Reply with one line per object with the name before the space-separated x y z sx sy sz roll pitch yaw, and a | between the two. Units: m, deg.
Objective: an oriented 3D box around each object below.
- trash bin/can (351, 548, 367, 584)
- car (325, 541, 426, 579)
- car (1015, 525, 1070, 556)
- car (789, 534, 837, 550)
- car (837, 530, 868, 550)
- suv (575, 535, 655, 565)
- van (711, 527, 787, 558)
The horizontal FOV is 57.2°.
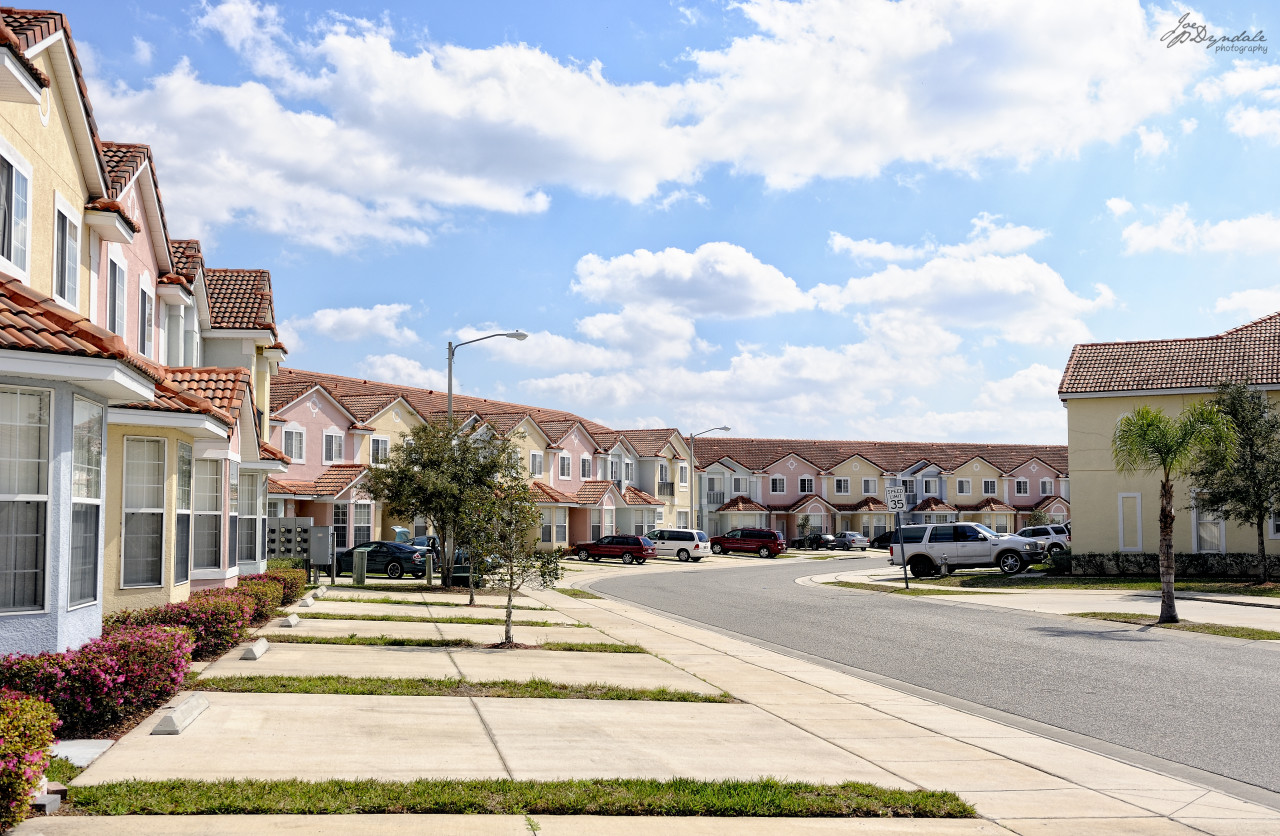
trash bin/can | -9.446 4.980 39.272 0.304 1.038 0.576 2 1 -5
car | -9.895 5.391 44.870 3.369 1.121 1.536 2 -3 17
car | 18.390 5.604 53.654 2.460 1.118 1.427 1 -7 -9
car | 12.892 9.231 87.119 1.199 0.895 2.777 6 -5 -44
car | 15.090 8.973 85.742 1.060 0.850 2.544 -1 1 -11
suv | -1.380 7.221 64.838 4.728 1.079 1.576 2 0 38
van | 6.634 7.784 73.800 4.716 1.366 1.184 2 0 45
